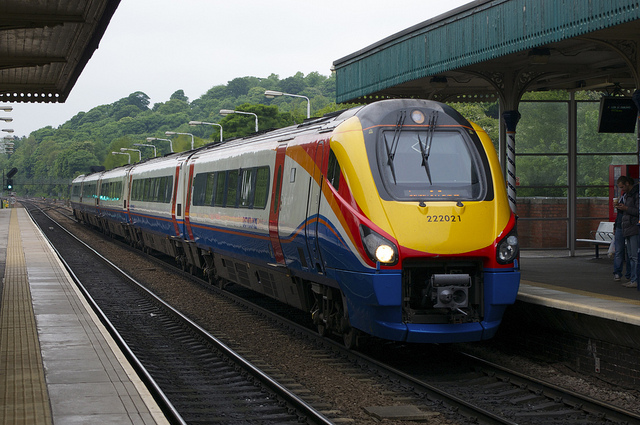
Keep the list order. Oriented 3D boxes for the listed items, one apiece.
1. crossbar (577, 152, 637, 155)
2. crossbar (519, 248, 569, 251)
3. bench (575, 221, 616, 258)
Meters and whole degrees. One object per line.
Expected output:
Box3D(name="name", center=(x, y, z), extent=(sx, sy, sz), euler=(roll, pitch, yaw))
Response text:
Box3D(name="crossbar", center=(9.703, -1.973, 16.208), extent=(2.301, 0.076, 0.597), euler=(-3, 6, -21))
Box3D(name="crossbar", center=(7.628, 1.310, 16.441), extent=(1.605, 0.065, 0.207), euler=(-2, 6, -4))
Box3D(name="bench", center=(8.881, 0.900, 15.529), extent=(0.549, 0.653, 1.207), euler=(0, -1, -7))
